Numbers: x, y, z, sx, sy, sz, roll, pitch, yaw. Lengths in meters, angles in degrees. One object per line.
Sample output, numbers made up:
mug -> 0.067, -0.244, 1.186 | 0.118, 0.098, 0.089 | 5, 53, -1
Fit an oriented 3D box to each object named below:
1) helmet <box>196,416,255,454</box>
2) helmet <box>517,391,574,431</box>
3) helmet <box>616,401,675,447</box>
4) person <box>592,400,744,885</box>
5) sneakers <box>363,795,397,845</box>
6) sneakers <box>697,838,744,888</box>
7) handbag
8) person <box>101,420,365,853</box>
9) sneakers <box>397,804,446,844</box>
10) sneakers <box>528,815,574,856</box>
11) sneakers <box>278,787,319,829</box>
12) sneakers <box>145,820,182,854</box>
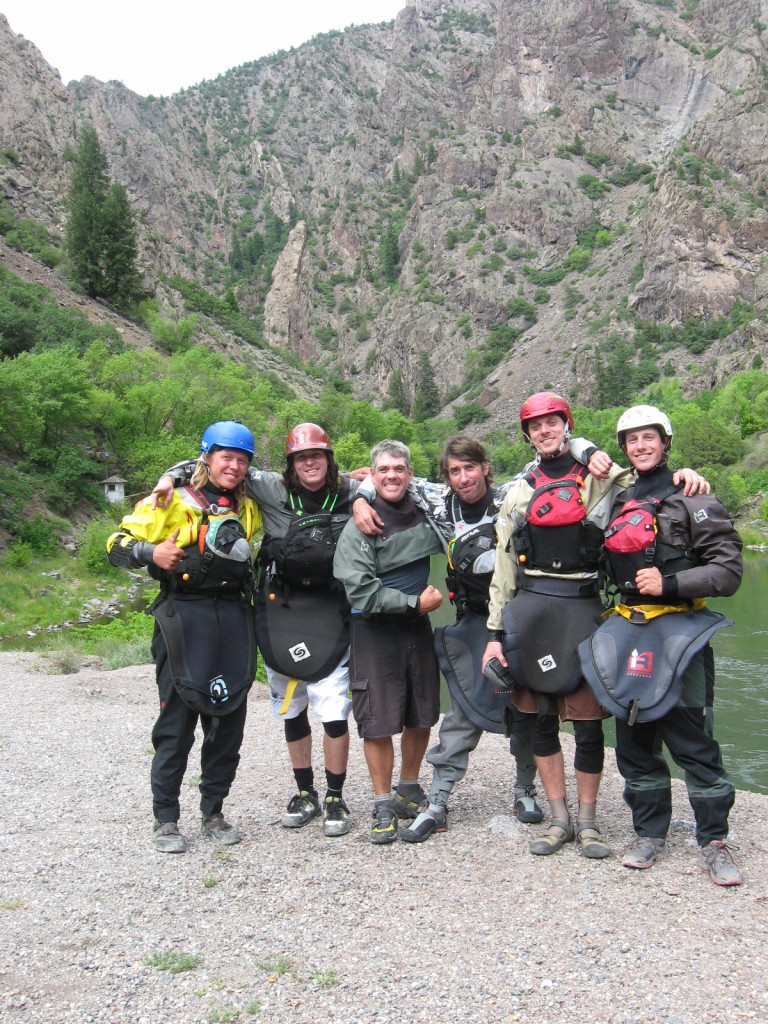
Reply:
helmet -> -1.006, -0.489, 5.795 | 0.234, 0.223, 0.280 | 3, 11, -36
helmet -> 0.959, -0.636, 5.611 | 0.220, 0.203, 0.292 | -6, 17, 18
helmet -> 1.501, -0.489, 5.324 | 0.246, 0.270, 0.283 | -2, 0, 18
person -> 1.542, 0.647, 5.058 | 0.637, 2.243, 0.803 | -2, -1, -24
sneakers -> -0.022, 1.915, 5.798 | 0.173, 0.198, 0.354 | -2, -1, -2
sneakers -> 1.768, 1.839, 4.882 | 0.155, 0.200, 0.310 | -2, -1, 3
handbag -> 1.122, 0.023, 5.319 | 0.587, 0.498, 0.412 | 12, -9, -30
person -> -1.132, 0.724, 5.700 | 1.106, 2.611, 0.658 | -2, -1, -20
sneakers -> 0.263, 1.964, 5.816 | 0.134, 0.150, 0.378 | -9, -14, 35
sneakers -> 0.981, 1.918, 5.443 | 0.116, 0.125, 0.352 | -8, -9, 38
sneakers -> -0.572, 2.004, 6.226 | 0.169, 0.167, 0.406 | -4, -18, 13
sneakers -> -1.322, 1.947, 5.580 | 0.201, 0.152, 0.314 | -2, -2, -16
